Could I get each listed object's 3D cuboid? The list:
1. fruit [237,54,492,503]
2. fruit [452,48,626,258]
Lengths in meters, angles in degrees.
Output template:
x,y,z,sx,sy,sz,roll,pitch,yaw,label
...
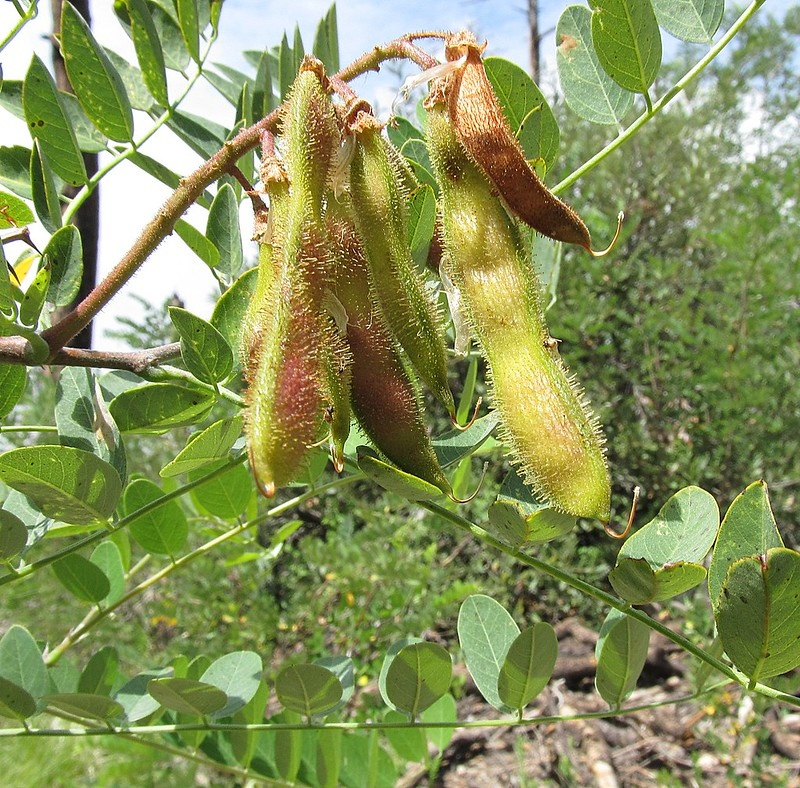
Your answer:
x,y,z,sx,sy,sz,roll,pitch,yaw,label
-0.155,-0.176,1.922,0.442,0.724,0.286,-22,10,4,fruit
0.259,-0.461,2.024,0.156,0.556,0.136,-34,23,35,fruit
